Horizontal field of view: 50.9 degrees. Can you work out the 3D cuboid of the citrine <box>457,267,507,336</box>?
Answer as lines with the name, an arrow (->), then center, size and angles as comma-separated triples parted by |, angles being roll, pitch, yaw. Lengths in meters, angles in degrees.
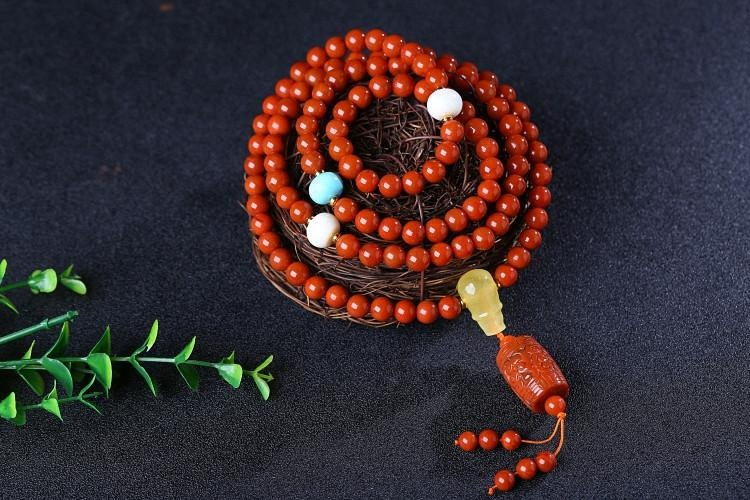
citrine -> 0.257, 0.125, 1.880 | 0.098, 0.096, 0.161 | -25, -86, -10
